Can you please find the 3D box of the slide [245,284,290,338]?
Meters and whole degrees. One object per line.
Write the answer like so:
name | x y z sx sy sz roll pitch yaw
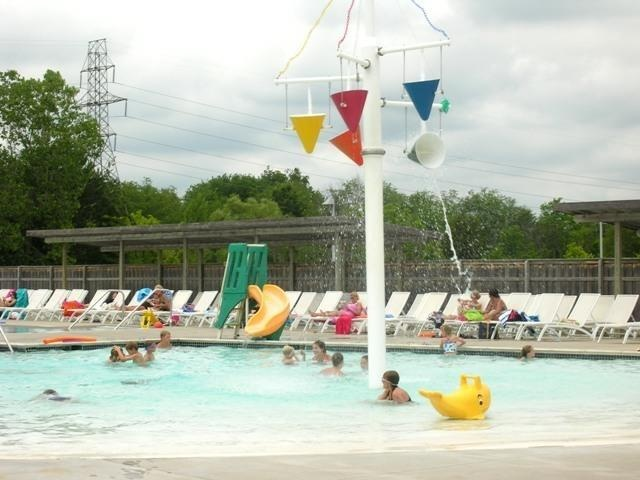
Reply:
slide | -1.788 2.441 35.257 1.251 1.916 1.192 -1 0 42
